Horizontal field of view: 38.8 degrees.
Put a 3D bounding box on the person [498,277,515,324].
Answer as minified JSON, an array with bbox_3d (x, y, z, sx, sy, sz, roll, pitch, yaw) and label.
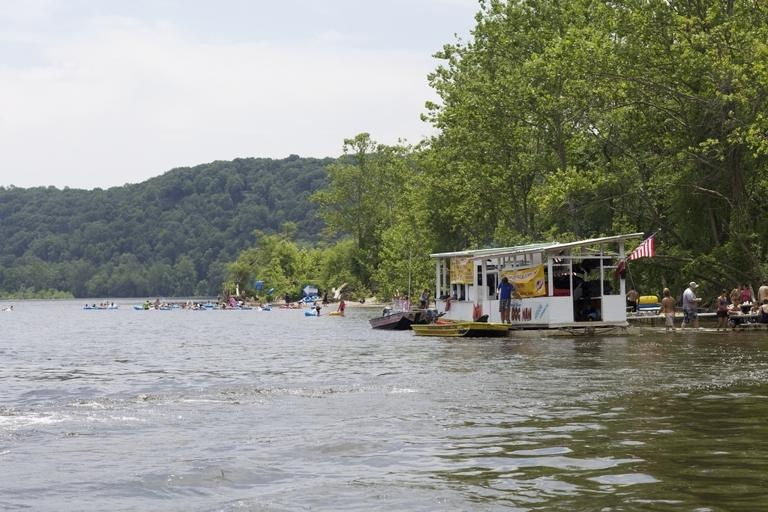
[{"bbox_3d":[6.616,2.357,58.826,0.730,2.512,1.431,0,-7,6],"label":"person"}]

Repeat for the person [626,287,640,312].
[{"bbox_3d":[16.130,2.934,70.605,0.636,1.309,2.352,0,-7,11],"label":"person"}]

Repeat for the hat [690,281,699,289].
[{"bbox_3d":[17.259,1.636,60.731,0.542,0.239,0.388,-8,21,-12],"label":"hat"}]

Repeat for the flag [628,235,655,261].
[{"bbox_3d":[14.385,-0.473,60.990,1.251,1.209,3.308,0,-7,8],"label":"flag"}]
